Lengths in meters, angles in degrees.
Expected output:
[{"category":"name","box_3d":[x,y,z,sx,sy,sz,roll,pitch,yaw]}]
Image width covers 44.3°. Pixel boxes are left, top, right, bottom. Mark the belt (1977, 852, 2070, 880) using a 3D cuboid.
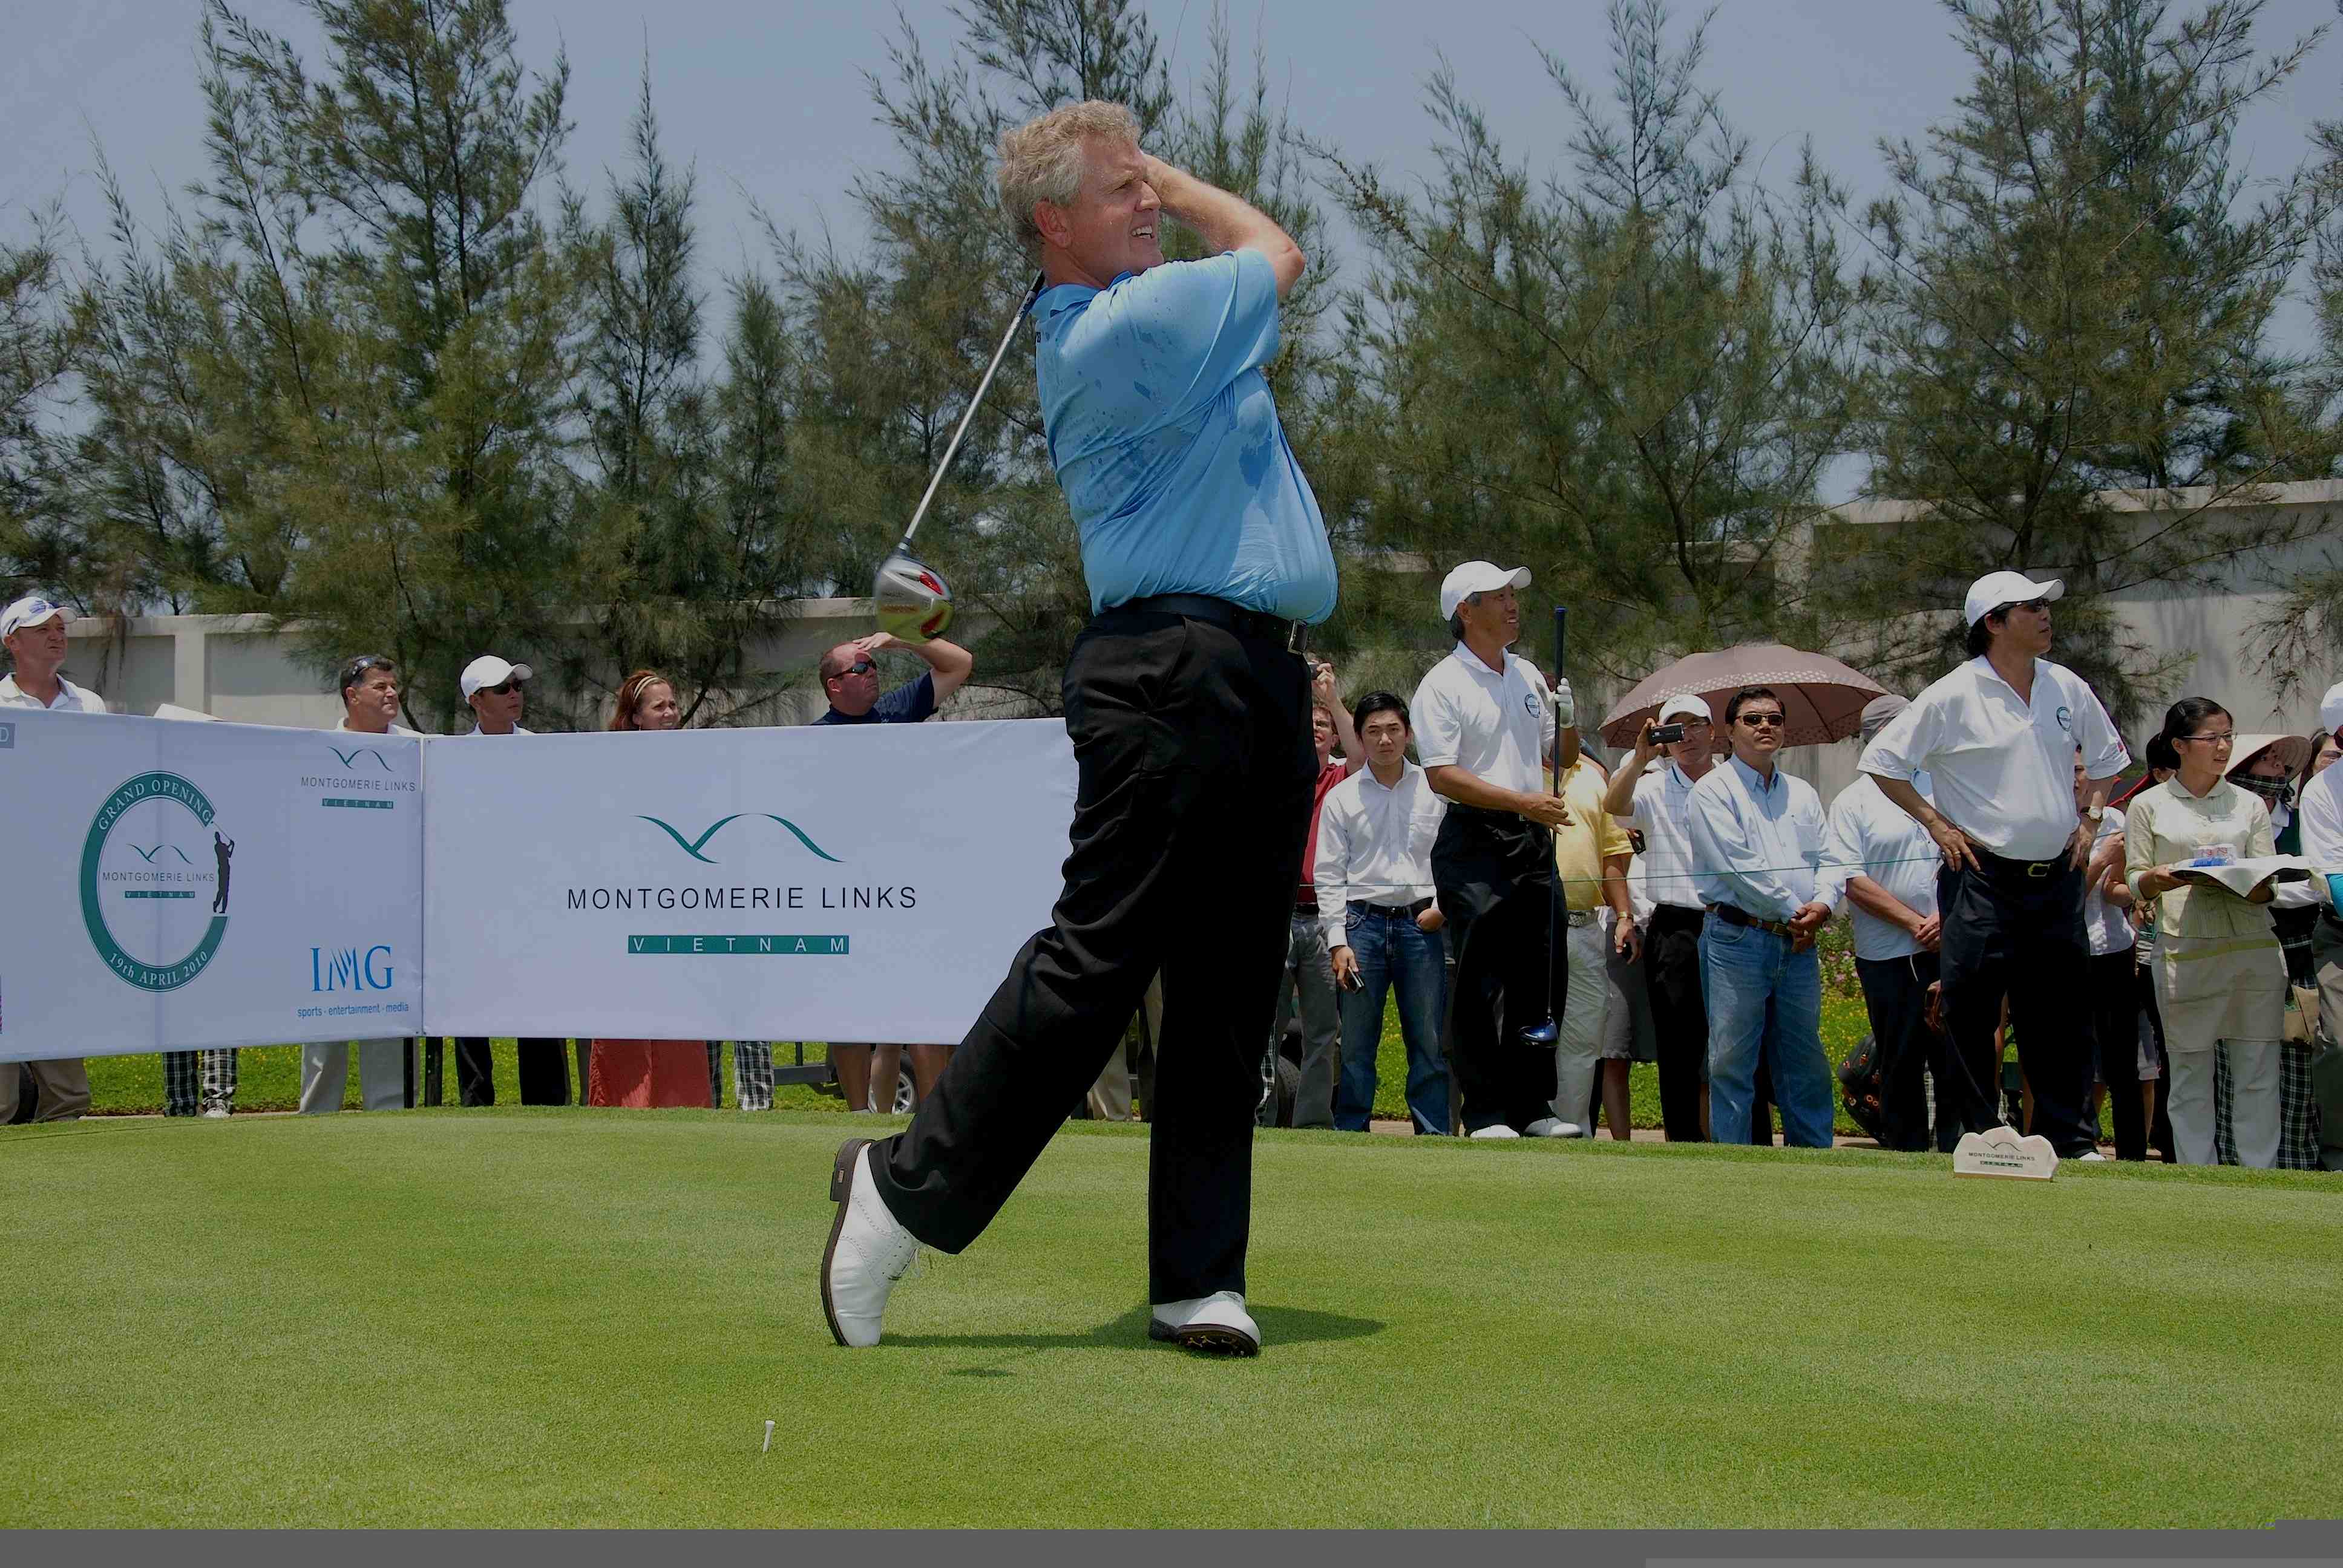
[{"category":"belt","box_3d":[3.917,0.381,13.227,0.424,0.119,0.078,3,13,10]}]
